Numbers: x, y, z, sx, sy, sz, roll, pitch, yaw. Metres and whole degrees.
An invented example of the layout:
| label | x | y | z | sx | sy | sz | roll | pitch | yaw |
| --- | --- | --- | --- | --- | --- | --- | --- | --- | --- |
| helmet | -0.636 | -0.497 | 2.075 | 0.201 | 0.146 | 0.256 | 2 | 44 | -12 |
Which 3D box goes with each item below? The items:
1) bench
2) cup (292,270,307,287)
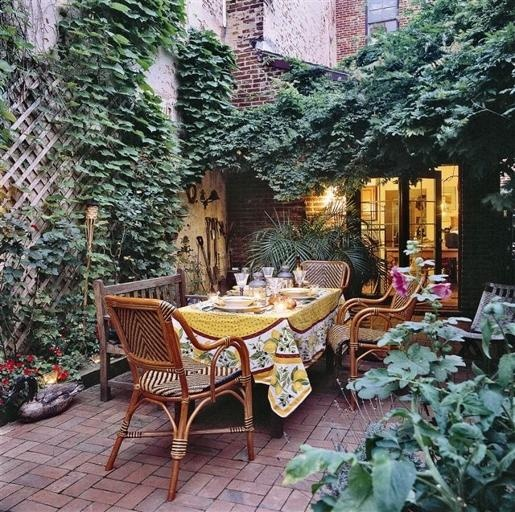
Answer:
| label | x | y | z | sx | sy | sz | roll | pitch | yaw |
| --- | --- | --- | --- | --- | --- | --- | --- | --- | --- |
| bench | -0.721 | 0.575 | 2.936 | 0.508 | 0.740 | 1.127 | 1 | 3 | 16 |
| cup | 0.347 | 0.184 | 3.793 | 0.174 | 0.153 | 0.158 | 0 | -7 | 0 |
